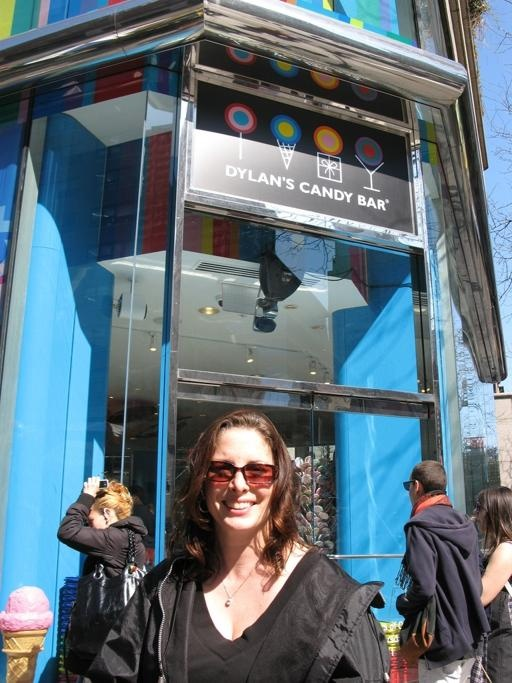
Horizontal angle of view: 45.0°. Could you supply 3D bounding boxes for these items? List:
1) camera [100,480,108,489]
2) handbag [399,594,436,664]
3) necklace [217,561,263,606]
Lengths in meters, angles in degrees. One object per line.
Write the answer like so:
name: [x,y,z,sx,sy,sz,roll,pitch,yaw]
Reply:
camera: [-0.976,0.914,3.953,0.048,0.046,0.012,-1,-49,5]
handbag: [0.793,1.426,3.049,0.134,0.313,0.225,2,-19,-5]
necklace: [-0.044,0.570,1.441,0.045,0.135,0.005,11,-43,34]
